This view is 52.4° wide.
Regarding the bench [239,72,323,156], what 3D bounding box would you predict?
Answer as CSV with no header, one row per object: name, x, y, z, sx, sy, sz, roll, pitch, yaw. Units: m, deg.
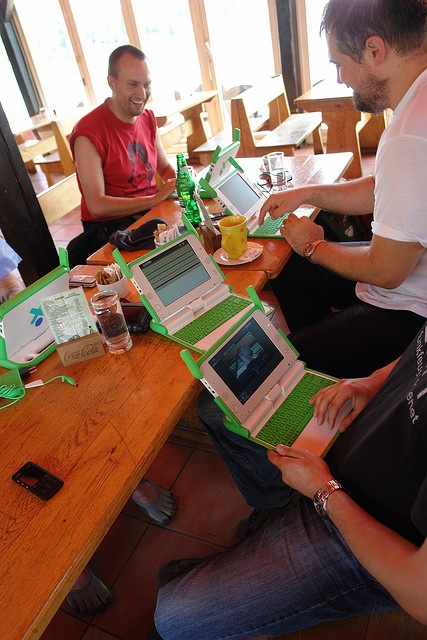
bench,0.683,-1.804,4.152,0.556,0.756,1.250,7,37,21

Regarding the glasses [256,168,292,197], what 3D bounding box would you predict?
glasses,0.289,-0.667,2.099,0.162,0.056,0.243,-14,25,6

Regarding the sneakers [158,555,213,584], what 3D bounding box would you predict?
sneakers,-0.087,0.683,1.181,0.136,0.040,0.107,-18,-8,12

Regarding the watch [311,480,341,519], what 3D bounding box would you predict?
watch,0.228,0.356,0.854,0.052,0.080,0.044,-28,28,-18

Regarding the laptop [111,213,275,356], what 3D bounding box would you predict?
laptop,-0.071,-0.049,1.345,0.399,0.276,0.367,27,53,24

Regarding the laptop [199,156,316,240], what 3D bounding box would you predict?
laptop,0.209,-0.434,1.835,0.413,0.286,0.419,7,38,24

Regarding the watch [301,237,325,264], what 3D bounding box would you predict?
watch,0.346,-0.249,1.541,0.083,0.082,0.050,-39,55,11

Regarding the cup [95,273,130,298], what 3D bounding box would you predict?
cup,-0.326,-0.113,1.401,0.085,0.056,0.087,-1,34,0

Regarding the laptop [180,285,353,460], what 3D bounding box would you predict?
laptop,0.103,0.158,1.129,0.399,0.271,0.361,20,50,29
